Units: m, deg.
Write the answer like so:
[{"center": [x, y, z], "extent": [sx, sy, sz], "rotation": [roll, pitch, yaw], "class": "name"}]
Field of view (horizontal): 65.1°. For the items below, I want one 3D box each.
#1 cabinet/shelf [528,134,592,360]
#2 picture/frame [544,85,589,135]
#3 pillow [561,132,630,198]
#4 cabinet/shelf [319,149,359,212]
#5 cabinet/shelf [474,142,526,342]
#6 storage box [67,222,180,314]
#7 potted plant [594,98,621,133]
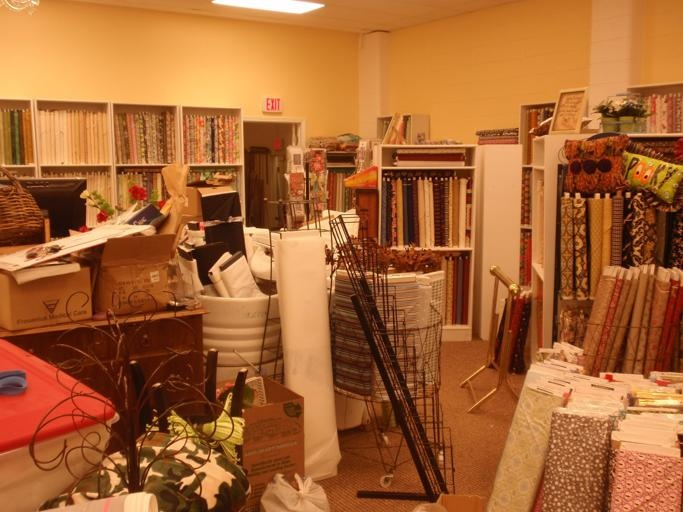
[{"center": [1.456, -0.038, 3.790], "extent": [0.277, 1.615, 1.095], "rotation": [4, 12, 19], "class": "cabinet/shelf"}, {"center": [1.751, -1.125, 4.111], "extent": [0.244, 0.349, 0.676], "rotation": [3, 12, 16], "class": "picture/frame"}, {"center": [1.519, -0.528, 3.188], "extent": [0.406, 0.393, 0.148], "rotation": [5, 10, 38], "class": "pillow"}, {"center": [0.001, -1.136, 8.264], "extent": [0.444, 0.934, 0.878], "rotation": [-1, 12, -1], "class": "cabinet/shelf"}, {"center": [1.611, -0.137, 5.511], "extent": [0.467, 1.973, 0.425], "rotation": [-1, 12, -2], "class": "cabinet/shelf"}, {"center": [-1.130, 0.088, 2.900], "extent": [0.534, 0.394, 0.556], "rotation": [-5, 8, -18], "class": "storage box"}, {"center": [1.778, -0.946, 3.591], "extent": [0.160, 0.236, 0.440], "rotation": [3, 12, 15], "class": "potted plant"}]
